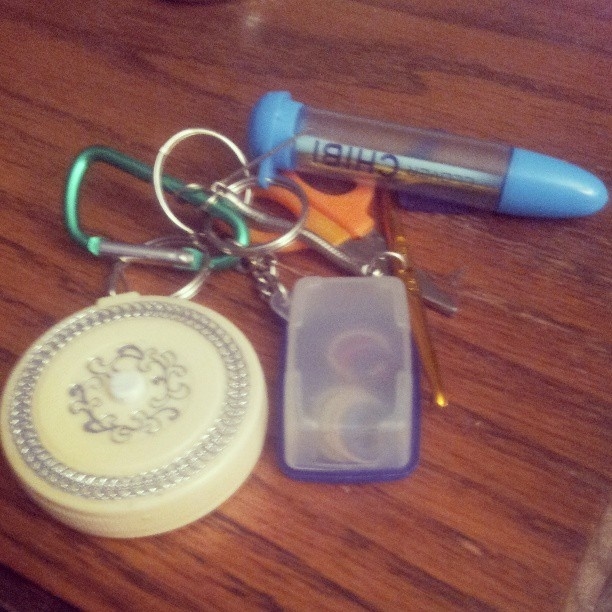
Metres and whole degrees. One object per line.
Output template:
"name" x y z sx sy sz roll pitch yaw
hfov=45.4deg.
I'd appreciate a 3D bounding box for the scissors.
"scissors" 0.047 -0.055 0.571 0.100 0.010 0.153 -32 52 -27
